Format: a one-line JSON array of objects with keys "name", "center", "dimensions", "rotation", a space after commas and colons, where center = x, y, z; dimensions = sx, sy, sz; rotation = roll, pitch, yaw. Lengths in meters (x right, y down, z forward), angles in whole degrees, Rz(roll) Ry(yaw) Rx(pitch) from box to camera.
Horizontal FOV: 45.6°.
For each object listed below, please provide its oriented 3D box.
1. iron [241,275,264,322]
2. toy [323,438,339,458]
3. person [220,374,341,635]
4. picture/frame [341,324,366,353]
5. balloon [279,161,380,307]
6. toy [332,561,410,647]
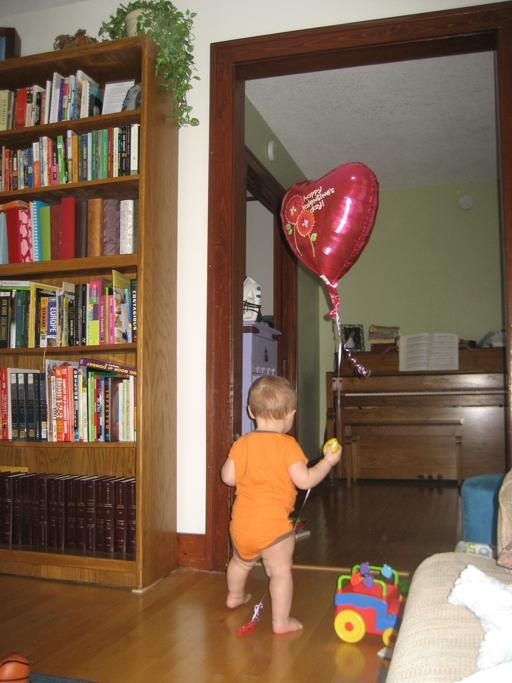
[{"name": "iron", "center": [-0.026, -0.190, 2.777], "dimensions": [0.068, 0.180, 0.131], "rotation": [8, -15, -12]}, {"name": "toy", "center": [0.236, 0.325, 1.898], "dimensions": [0.052, 0.057, 0.036], "rotation": [21, 41, 7]}, {"name": "person", "center": [0.061, 0.457, 1.868], "dimensions": [0.278, 0.706, 0.338], "rotation": [4, -6, -35]}, {"name": "picture/frame", "center": [0.815, -0.025, 5.065], "dimensions": [0.261, 0.312, 0.032], "rotation": [1, -25, 1]}, {"name": "balloon", "center": [0.280, -0.373, 2.242], "dimensions": [0.253, 0.526, 0.416], "rotation": [2, -5, -23]}, {"name": "toy", "center": [0.328, 0.698, 1.697], "dimensions": [0.252, 0.226, 0.166], "rotation": [0, -1, 14]}]
